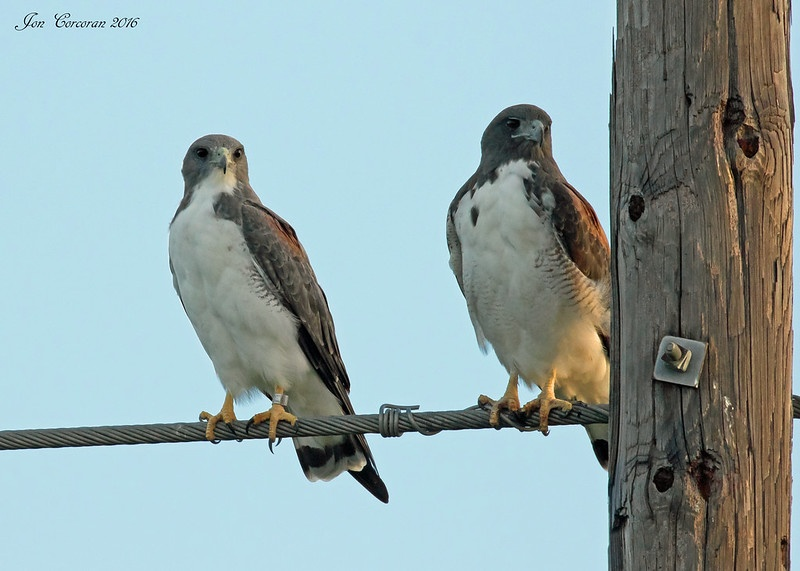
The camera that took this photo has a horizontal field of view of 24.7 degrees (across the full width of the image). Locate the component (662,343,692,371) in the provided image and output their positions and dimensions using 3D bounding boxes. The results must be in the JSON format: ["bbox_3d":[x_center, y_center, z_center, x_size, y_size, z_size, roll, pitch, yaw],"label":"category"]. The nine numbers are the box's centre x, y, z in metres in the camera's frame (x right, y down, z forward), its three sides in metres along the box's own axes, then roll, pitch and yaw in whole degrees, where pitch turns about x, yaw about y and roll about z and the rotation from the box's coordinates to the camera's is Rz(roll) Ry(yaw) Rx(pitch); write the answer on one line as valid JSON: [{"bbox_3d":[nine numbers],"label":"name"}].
[{"bbox_3d":[1.353,0.337,8.981,0.097,0.068,0.081,30,-95,-56],"label":"component"}]

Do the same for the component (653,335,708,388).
[{"bbox_3d":[1.383,0.370,9.080,0.203,0.253,0.186,9,-3,15],"label":"component"}]
